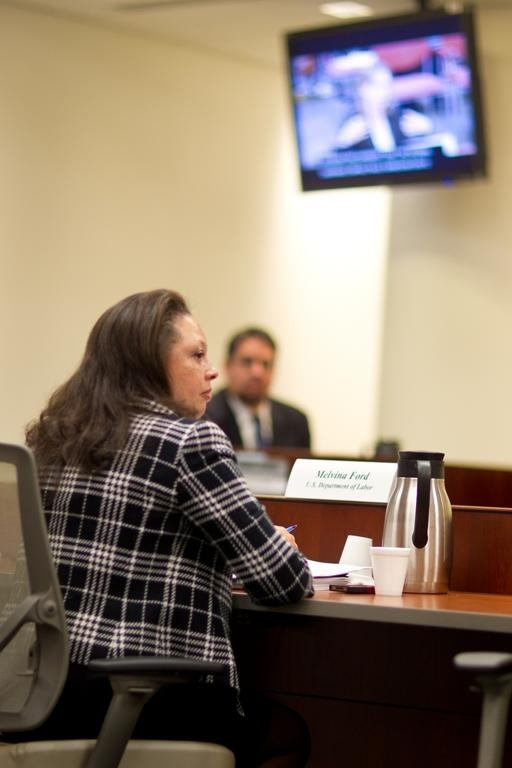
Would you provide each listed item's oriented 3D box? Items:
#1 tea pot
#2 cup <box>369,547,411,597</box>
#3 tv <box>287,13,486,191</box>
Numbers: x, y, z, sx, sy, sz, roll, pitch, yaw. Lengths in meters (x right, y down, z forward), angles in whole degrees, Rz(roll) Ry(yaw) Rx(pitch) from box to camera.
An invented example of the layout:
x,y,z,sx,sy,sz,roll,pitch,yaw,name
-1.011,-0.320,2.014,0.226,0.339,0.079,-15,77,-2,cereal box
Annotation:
x,y,z,sx,sy,sz,roll,pitch,yaw,name
0.289,0.243,1.208,0.129,0.243,0.133,0,8,0,tea pot
0.212,0.294,1.075,0.079,0.078,0.078,2,-3,0,cup
0.387,-0.797,1.910,0.621,0.480,0.080,-1,15,30,tv
